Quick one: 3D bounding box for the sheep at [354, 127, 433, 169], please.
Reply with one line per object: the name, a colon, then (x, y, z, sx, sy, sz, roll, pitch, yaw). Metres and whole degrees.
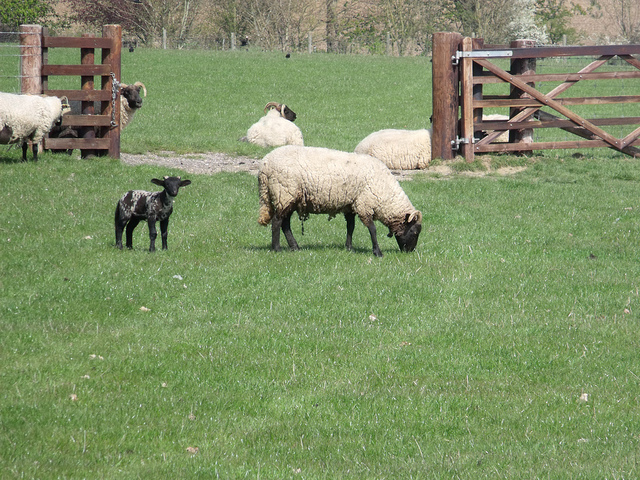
sheep: (2.493, -3.059, 40.703, 2.080, 1.209, 1.375, 1, 19, -14)

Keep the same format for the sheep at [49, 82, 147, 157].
sheep: (-7.192, -3.873, 40.023, 1.508, 2.017, 3.917, 6, 11, 24)

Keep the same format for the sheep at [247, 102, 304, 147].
sheep: (-1.497, -3.969, 45.066, 1.286, 1.379, 2.436, 3, 19, 7)

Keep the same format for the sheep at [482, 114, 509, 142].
sheep: (6.013, -3.740, 42.285, 0.899, 0.883, 2.865, 3, 11, 8)

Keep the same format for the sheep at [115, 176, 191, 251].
sheep: (-4.519, -0.620, 32.624, 2.252, 1.940, 0.920, 2, 1, 35)
